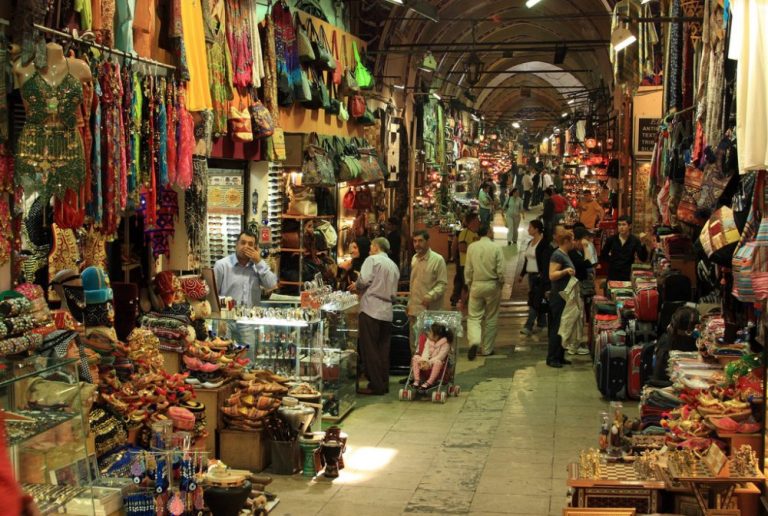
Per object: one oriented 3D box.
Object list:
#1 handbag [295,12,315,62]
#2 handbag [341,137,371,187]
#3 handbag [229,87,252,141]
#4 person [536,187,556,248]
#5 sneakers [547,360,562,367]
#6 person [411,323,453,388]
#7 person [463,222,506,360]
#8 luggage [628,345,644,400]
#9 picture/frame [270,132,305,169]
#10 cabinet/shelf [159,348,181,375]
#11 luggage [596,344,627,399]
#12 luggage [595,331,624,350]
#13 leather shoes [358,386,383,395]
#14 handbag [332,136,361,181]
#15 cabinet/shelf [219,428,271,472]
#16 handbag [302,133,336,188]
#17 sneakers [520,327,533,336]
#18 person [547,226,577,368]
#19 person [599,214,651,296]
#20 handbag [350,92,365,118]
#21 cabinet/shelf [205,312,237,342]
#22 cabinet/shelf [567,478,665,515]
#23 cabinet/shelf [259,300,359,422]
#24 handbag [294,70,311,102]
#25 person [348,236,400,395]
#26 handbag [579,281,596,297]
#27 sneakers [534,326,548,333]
[{"bbox_3d":[-1.168,-3.269,10.185,0.244,0.658,0.499,0,6,7],"label":"handbag"},{"bbox_3d":[-0.478,-1.635,11.637,0.395,0.791,0.903,-1,1,19],"label":"handbag"},{"bbox_3d":[-1.769,-1.802,8.630,0.227,0.645,0.569,1,6,13],"label":"handbag"},{"bbox_3d":[3.234,-0.842,13.573,0.336,1.162,0.336,6,34,18],"label":"person"},{"bbox_3d":[2.548,1.584,10.277,0.201,0.092,0.081,-3,3,19],"label":"sneakers"},{"bbox_3d":[0.579,1.267,8.919,0.383,0.805,0.557,5,8,42],"label":"person"},{"bbox_3d":[1.547,0.644,10.657,0.573,1.879,0.458,0,5,1],"label":"person"},{"bbox_3d":[3.037,1.410,8.321,0.164,0.749,0.424,2,6,20],"label":"luggage"},{"bbox_3d":[-1.359,-1.594,10.137,0.457,0.451,0.108,1,2,13],"label":"picture/frame"},{"bbox_3d":[-1.936,0.955,6.285,0.191,0.379,0.198,0,-2,-8],"label":"cabinet/shelf"},{"bbox_3d":[2.819,1.439,8.505,0.375,0.737,0.335,2,6,17],"label":"luggage"},{"bbox_3d":[2.870,1.018,8.724,0.309,0.233,0.310,9,-21,8],"label":"luggage"},{"bbox_3d":[-0.191,1.761,9.056,0.354,0.153,0.127,-3,-3,26],"label":"leather shoes"},{"bbox_3d":[-0.626,-1.603,11.188,0.296,0.733,0.823,-5,2,17],"label":"handbag"},{"bbox_3d":[-1.339,1.767,6.456,0.394,0.402,0.396,1,0,-13],"label":"cabinet/shelf"},{"bbox_3d":[-0.998,-1.443,10.285,0.353,0.893,0.820,-4,3,14],"label":"handbag"},{"bbox_3d":[2.529,1.305,12.191,0.097,0.099,0.226,2,-8,28],"label":"sneakers"},{"bbox_3d":[2.611,0.612,10.199,0.348,2.017,0.508,1,6,13],"label":"person"},{"bbox_3d":[4.065,-0.136,11.685,0.725,1.119,0.686,2,6,21],"label":"person"},{"bbox_3d":[-0.500,-2.788,12.656,0.238,0.399,0.667,0,6,3],"label":"handbag"},{"bbox_3d":[-1.667,0.705,7.005,0.291,0.321,0.295,5,9,19],"label":"cabinet/shelf"},{"bbox_3d":[1.517,1.547,4.508,0.585,0.182,0.132,1,6,6],"label":"cabinet/shelf"},{"bbox_3d":[-0.676,1.089,7.628,1.025,1.336,1.890,0,4,9],"label":"cabinet/shelf"},{"bbox_3d":[-1.177,-2.571,10.212,0.168,0.490,0.591,-1,6,-6],"label":"handbag"},{"bbox_3d":[-0.102,0.771,9.012,0.553,2.048,0.337,-1,5,-4],"label":"person"},{"bbox_3d":[3.033,0.465,10.295,0.249,0.251,0.132,2,-6,-43],"label":"handbag"},{"bbox_3d":[2.867,1.310,12.585,0.250,0.110,0.101,3,2,-7],"label":"sneakers"}]
